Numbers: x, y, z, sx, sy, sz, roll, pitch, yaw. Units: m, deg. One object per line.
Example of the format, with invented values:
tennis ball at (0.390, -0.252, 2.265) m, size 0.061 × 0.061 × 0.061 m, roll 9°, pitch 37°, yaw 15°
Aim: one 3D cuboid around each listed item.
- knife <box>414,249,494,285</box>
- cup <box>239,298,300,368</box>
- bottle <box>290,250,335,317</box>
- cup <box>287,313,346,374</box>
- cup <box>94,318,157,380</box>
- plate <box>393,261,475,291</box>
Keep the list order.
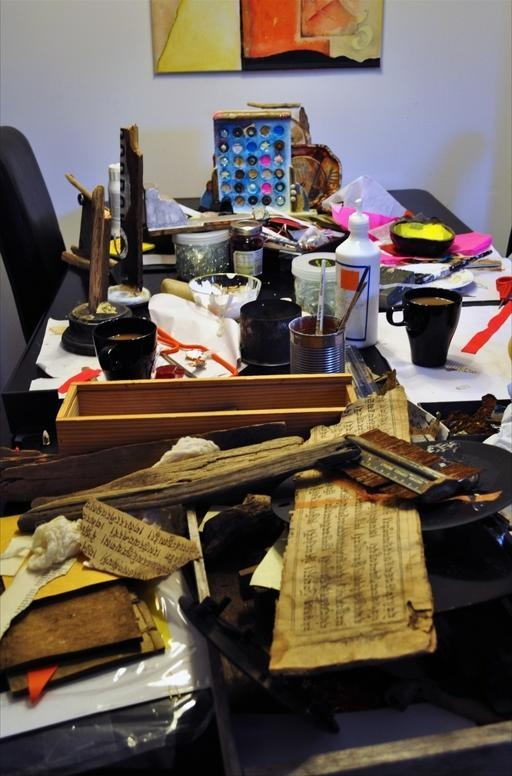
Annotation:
knife at (0.408, -0.254, 1.267) m, size 0.174 × 0.034 × 0.030 m, roll -31°, pitch 47°, yaw -32°
cup at (0.023, -0.090, 0.895) m, size 0.088 × 0.080 × 0.093 m, roll -1°, pitch 28°, yaw 0°
bottle at (0.083, -0.185, 1.087) m, size 0.104 × 0.105 × 0.104 m, roll -3°, pitch 33°, yaw 2°
cup at (0.063, -0.054, 0.731) m, size 0.072 × 0.078 × 0.072 m, roll -2°, pitch 28°, yaw 1°
cup at (-0.164, -0.055, 0.805) m, size 0.064 × 0.066 × 0.094 m, roll 1°, pitch 32°, yaw 3°
plate at (0.373, -0.220, 1.216) m, size 0.110 × 0.016 × 0.109 m, roll 2°, pitch 29°, yaw 10°
